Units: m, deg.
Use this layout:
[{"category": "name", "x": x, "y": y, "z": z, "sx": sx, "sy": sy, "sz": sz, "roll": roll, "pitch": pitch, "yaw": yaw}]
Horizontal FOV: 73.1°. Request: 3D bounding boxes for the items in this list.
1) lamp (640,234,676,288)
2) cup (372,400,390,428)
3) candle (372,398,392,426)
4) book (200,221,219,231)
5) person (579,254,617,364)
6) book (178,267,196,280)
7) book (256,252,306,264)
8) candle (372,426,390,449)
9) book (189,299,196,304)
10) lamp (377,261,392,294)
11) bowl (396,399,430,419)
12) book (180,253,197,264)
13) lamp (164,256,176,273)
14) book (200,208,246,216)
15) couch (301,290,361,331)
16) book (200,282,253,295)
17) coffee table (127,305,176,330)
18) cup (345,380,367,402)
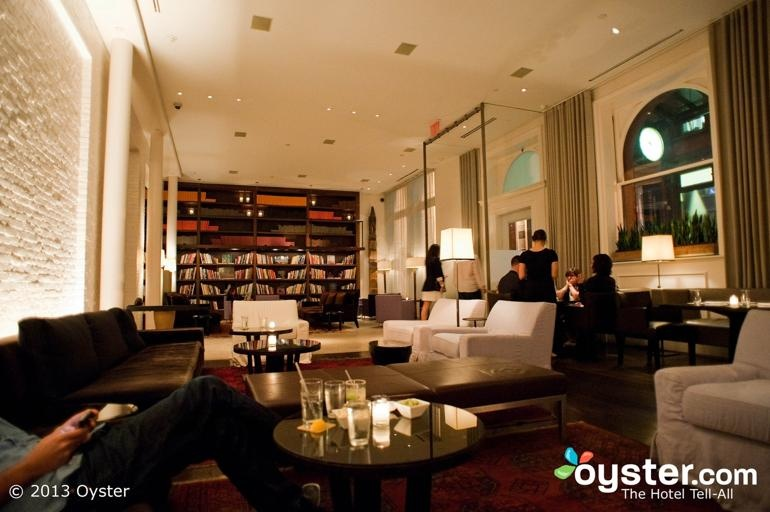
[{"category": "lamp", "x": 3.596, "y": 0.091, "z": 6.809, "sx": 0.355, "sy": 0.748, "sz": 0.681, "roll": 1, "pitch": 8, "yaw": 29}, {"category": "cup", "x": -0.027, "y": 0.938, "z": 3.100, "sx": 0.156, "sy": 0.160, "sz": 0.148, "roll": 0, "pitch": -5, "yaw": 0}, {"category": "candle", "x": -0.028, "y": 0.935, "z": 3.093, "sx": 0.157, "sy": 0.161, "sz": 0.149, "roll": 0, "pitch": -5, "yaw": -11}, {"category": "book", "x": -4.372, "y": -0.674, "z": 12.821, "sx": 0.484, "sy": 0.308, "sz": 0.236, "roll": 2, "pitch": -7, "yaw": -27}, {"category": "person", "x": 2.645, "y": 0.642, "z": 6.409, "sx": 0.398, "sy": 1.306, "sz": 0.591, "roll": 0, "pitch": 7, "yaw": 21}, {"category": "book", "x": -4.875, "y": 0.445, "z": 12.710, "sx": 0.396, "sy": 0.290, "sz": 0.113, "roll": -4, "pitch": 7, "yaw": -16}, {"category": "book", "x": -2.650, "y": 0.099, "z": 13.441, "sx": 1.037, "sy": 0.272, "sz": 0.332, "roll": 1, "pitch": -7, "yaw": -6}, {"category": "candle", "x": -0.028, "y": 1.067, "z": 3.024, "sx": 0.075, "sy": 0.127, "sz": 0.075, "roll": -2, "pitch": -5, "yaw": 34}, {"category": "book", "x": -4.539, "y": 1.088, "z": 12.144, "sx": 0.187, "sy": 0.167, "sz": 0.129, "roll": 3, "pitch": -9, "yaw": -19}, {"category": "lamp", "x": -0.044, "y": 0.567, "z": 13.979, "sx": 0.376, "sy": 0.956, "sz": 0.799, "roll": -2, "pitch": 7, "yaw": 0}, {"category": "bowl", "x": 0.155, "y": 0.955, "z": 3.263, "sx": 0.130, "sy": 0.053, "sz": 0.144, "roll": -2, "pitch": -3, "yaw": 36}, {"category": "book", "x": -4.833, "y": 0.087, "z": 12.691, "sx": 0.358, "sy": 0.254, "sz": 0.166, "roll": -4, "pitch": 7, "yaw": -18}, {"category": "lamp", "x": -4.628, "y": 0.186, "z": 11.108, "sx": 0.186, "sy": 0.274, "sz": 0.282, "roll": -3, "pitch": 7, "yaw": -7}, {"category": "book", "x": -4.040, "y": -1.076, "z": 12.996, "sx": 1.067, "sy": 0.238, "sz": 0.417, "roll": -5, "pitch": 7, "yaw": -25}, {"category": "couch", "x": -1.181, "y": 1.162, "z": 10.882, "sx": 1.068, "sy": 0.692, "sz": 1.103, "roll": 2, "pitch": 8, "yaw": 29}, {"category": "book", "x": -3.941, "y": 0.834, "z": 12.937, "sx": 1.229, "sy": 0.368, "sz": 0.260, "roll": -3, "pitch": 7, "yaw": -11}, {"category": "coffee table", "x": -3.083, "y": 0.815, "z": 6.828, "sx": 0.560, "sy": 0.486, "sz": 0.539, "roll": 1, "pitch": -3, "yaw": -21}, {"category": "cup", "x": -0.155, "y": 0.810, "z": 3.136, "sx": 0.137, "sy": 0.139, "sz": 0.135, "roll": 0, "pitch": -7, "yaw": 0}]
